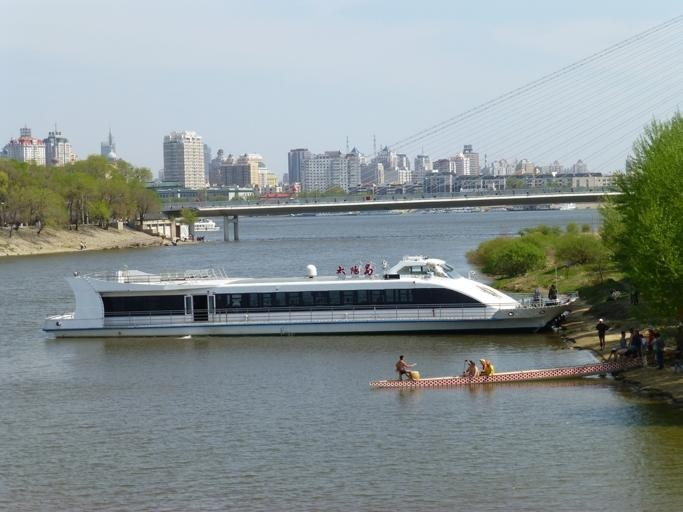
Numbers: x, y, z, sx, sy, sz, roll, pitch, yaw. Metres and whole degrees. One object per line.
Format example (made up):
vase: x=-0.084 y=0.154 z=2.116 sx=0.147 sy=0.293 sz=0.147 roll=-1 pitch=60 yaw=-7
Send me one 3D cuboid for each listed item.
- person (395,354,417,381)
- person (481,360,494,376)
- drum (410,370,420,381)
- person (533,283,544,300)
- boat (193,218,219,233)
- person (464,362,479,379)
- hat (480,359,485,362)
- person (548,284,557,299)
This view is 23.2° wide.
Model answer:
person: x=3.336 y=5.968 z=89.050 sx=0.738 sy=1.174 sz=0.826 roll=-27 pitch=31 yaw=-37
person: x=7.612 y=5.906 z=88.010 sx=0.771 sy=1.300 sz=0.941 roll=0 pitch=-1 yaw=9
drum: x=3.803 y=6.244 z=87.630 sx=0.417 sy=0.409 sz=0.648 roll=-1 pitch=-1 yaw=2
person: x=11.489 y=2.128 z=98.358 sx=0.546 sy=0.768 sz=1.770 roll=-1 pitch=-1 yaw=7
boat: x=-20.526 y=-5.129 z=253.063 sx=3.215 sy=1.906 sz=24.632 roll=-1 pitch=-1 yaw=-3
person: x=6.769 y=5.929 z=88.463 sx=0.911 sy=0.814 sz=2.172 roll=-1 pitch=-1 yaw=4
hat: x=7.391 y=5.489 z=88.763 sx=0.231 sy=0.126 sz=0.278 roll=6 pitch=-1 yaw=17
person: x=12.299 y=2.121 z=97.909 sx=0.431 sy=0.748 sz=1.069 roll=-1 pitch=-1 yaw=2
